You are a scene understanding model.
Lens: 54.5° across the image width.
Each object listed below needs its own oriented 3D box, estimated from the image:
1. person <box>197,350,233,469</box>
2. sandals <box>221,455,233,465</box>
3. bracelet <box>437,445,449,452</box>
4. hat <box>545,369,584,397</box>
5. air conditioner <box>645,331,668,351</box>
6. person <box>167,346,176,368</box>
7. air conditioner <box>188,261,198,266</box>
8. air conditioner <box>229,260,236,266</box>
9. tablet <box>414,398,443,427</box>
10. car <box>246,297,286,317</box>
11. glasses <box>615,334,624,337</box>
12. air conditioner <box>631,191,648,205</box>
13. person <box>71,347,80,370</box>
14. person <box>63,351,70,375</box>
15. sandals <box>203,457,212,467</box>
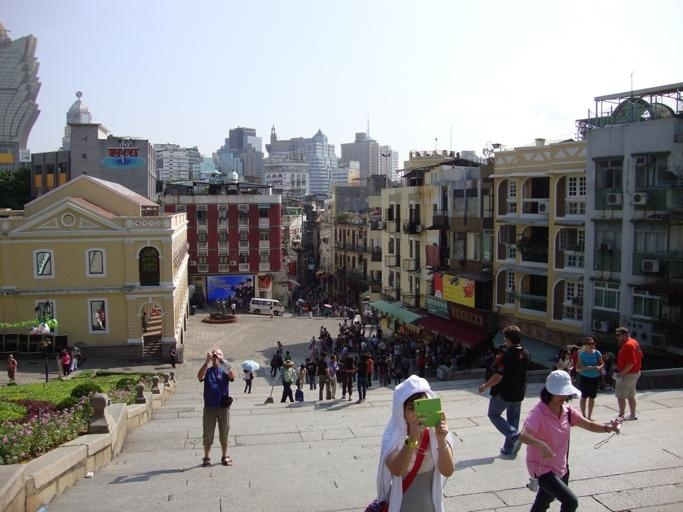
[{"bbox_3d":[-2.795,3.379,14.839,0.713,2.578,0.558,-2,0,-13],"label":"person"},{"bbox_3d":[-2.549,4.557,14.747,0.245,0.173,0.134,-1,2,-8],"label":"sandals"},{"bbox_3d":[1.510,2.827,9.777,0.186,0.089,0.053,-3,0,-6],"label":"bracelet"},{"bbox_3d":[3.743,2.183,11.191,0.414,0.302,0.505,-5,1,-28],"label":"hat"},{"bbox_3d":[13.138,3.498,27.653,0.517,1.018,1.030,2,-5,-28],"label":"air conditioner"},{"bbox_3d":[-10.121,6.047,39.702,0.397,1.275,1.644,-2,0,-14],"label":"person"},{"bbox_3d":[-15.487,0.724,69.183,0.894,0.962,0.490,0,5,1],"label":"air conditioner"},{"bbox_3d":[-11.505,0.727,69.797,0.724,0.793,0.405,0,4,-1],"label":"air conditioner"},{"bbox_3d":[1.233,2.256,9.567,0.373,0.412,0.053,-4,-3,-6],"label":"tablet"},{"bbox_3d":[-7.345,4.941,64.301,2.673,1.323,1.609,0,1,5],"label":"car"},{"bbox_3d":[6.555,1.856,15.646,0.065,0.080,0.177,-3,0,-26],"label":"glasses"},{"bbox_3d":[12.711,-2.406,28.265,0.419,0.704,0.773,1,0,-9],"label":"air conditioner"},{"bbox_3d":[-14.660,5.588,36.432,0.279,1.304,2.476,-2,0,-19],"label":"person"},{"bbox_3d":[-14.245,5.585,34.182,0.325,1.243,1.178,-2,0,-25],"label":"person"},{"bbox_3d":[-2.996,4.566,14.688,0.097,0.198,0.306,2,1,9],"label":"sandals"}]
